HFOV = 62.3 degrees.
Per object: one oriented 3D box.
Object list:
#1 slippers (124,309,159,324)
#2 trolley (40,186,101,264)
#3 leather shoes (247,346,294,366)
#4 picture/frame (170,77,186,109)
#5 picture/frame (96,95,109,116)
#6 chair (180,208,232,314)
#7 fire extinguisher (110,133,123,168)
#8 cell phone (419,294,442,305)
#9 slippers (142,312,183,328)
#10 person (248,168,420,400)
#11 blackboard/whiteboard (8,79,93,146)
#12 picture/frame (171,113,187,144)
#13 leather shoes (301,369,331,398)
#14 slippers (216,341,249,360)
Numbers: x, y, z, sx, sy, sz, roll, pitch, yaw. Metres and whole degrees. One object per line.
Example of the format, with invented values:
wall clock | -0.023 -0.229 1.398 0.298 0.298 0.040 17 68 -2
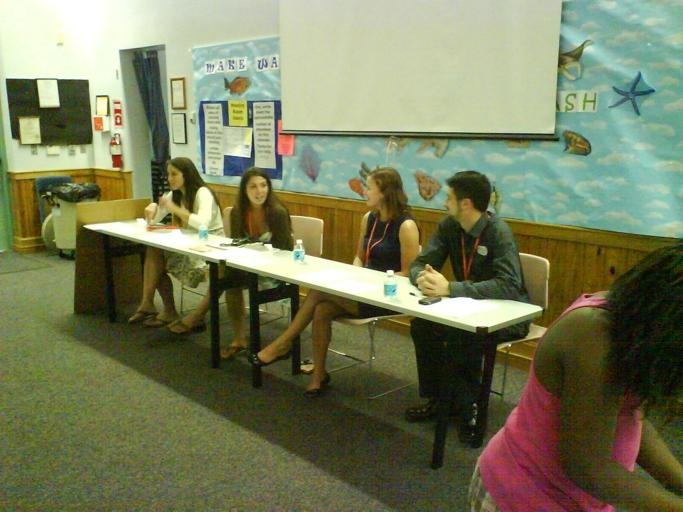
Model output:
slippers | -1.726 0.524 4.911 0.302 0.082 0.110 0 3 -13
trolley | -3.461 -0.475 7.159 0.558 0.772 0.596 7 11 17
leather shoes | -0.484 0.666 3.784 0.246 0.061 0.114 -5 8 -20
picture/frame | -1.908 -1.929 6.606 0.032 0.406 0.343 -10 15 -43
picture/frame | -3.305 -2.101 7.826 0.285 0.346 0.034 6 6 27
chair | -1.165 -0.128 5.031 0.322 0.594 0.365 20 27 20
fire extinguisher | -3.110 -1.446 7.748 0.231 0.477 0.107 10 18 36
cell phone | 0.470 0.227 3.018 0.051 0.020 0.100 9 11 40
slippers | -1.567 0.554 4.884 0.256 0.097 0.141 4 1 -4
person | -0.041 0.171 3.848 1.215 1.500 0.547 -10 20 -29
blackboard/whiteboard | -3.994 -1.976 7.651 0.948 0.825 0.044 -8 14 -35
picture/frame | -1.923 -1.537 6.705 0.055 0.423 0.360 -4 6 -42
leather shoes | -0.162 0.861 3.743 0.077 0.098 0.232 -7 -8 29
slippers | -0.824 0.719 4.288 0.199 0.146 0.100 -10 -8 4
